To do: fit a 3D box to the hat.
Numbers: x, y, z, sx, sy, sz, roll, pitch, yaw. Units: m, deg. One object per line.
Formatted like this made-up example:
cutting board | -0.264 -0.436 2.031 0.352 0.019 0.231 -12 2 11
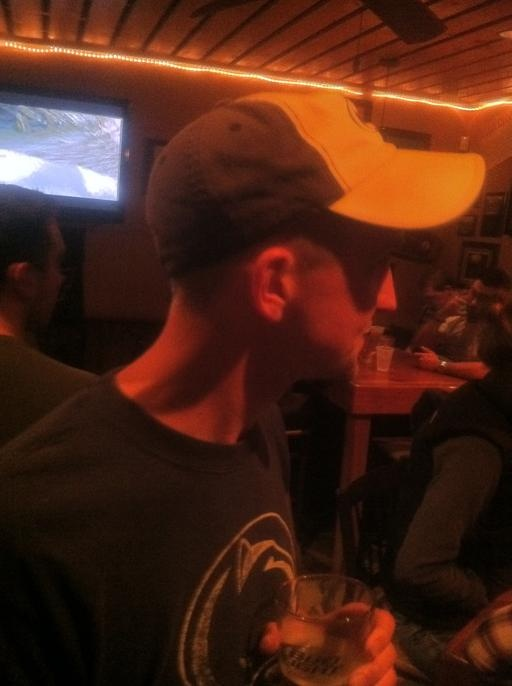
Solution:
hat | 0.075 -0.193 0.769 0.377 0.182 0.232 -14 15 2
